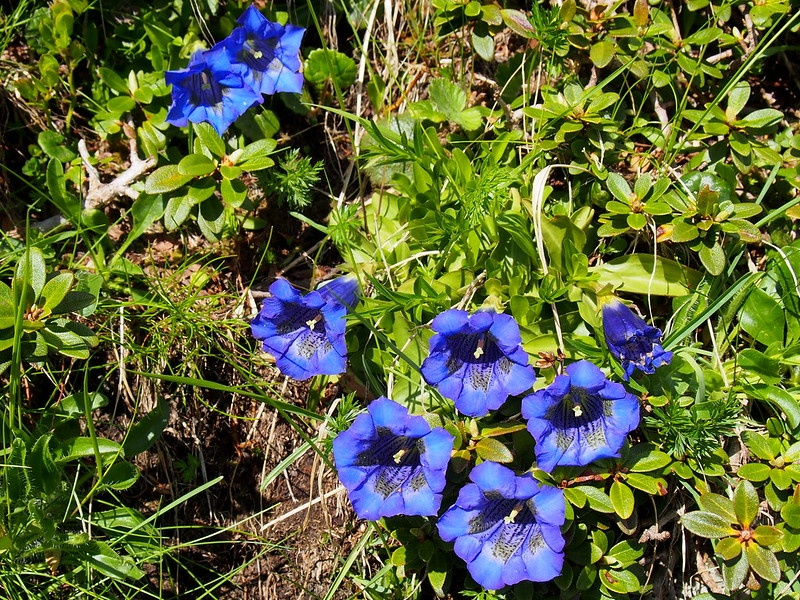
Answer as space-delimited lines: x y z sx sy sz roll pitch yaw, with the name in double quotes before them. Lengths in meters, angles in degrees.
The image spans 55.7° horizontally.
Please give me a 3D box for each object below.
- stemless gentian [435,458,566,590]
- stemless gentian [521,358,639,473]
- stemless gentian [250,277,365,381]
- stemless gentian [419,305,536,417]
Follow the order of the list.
"stemless gentian" 0.376 0.755 2.628 0.432 0.189 0.402 -8 12 -1
"stemless gentian" 0.615 0.425 2.625 0.429 0.228 0.547 -6 26 17
"stemless gentian" -0.335 0.110 2.827 0.486 0.217 0.410 14 19 -37
"stemless gentian" 0.261 0.243 2.826 0.370 0.368 0.458 -25 -12 -3
